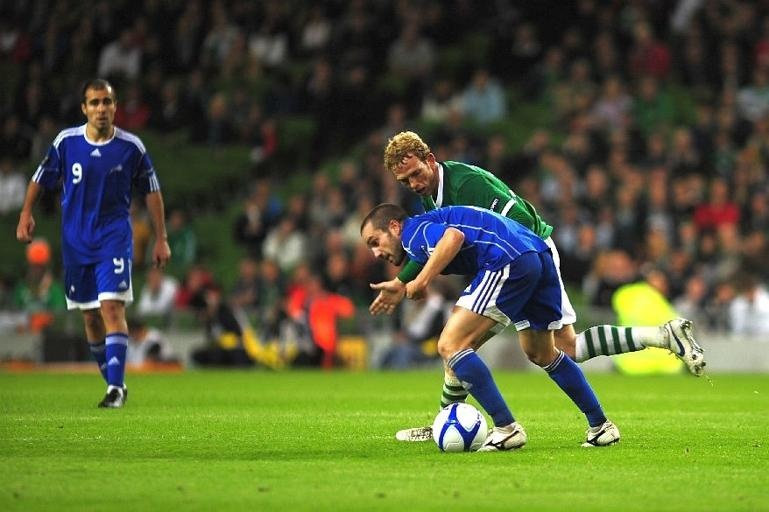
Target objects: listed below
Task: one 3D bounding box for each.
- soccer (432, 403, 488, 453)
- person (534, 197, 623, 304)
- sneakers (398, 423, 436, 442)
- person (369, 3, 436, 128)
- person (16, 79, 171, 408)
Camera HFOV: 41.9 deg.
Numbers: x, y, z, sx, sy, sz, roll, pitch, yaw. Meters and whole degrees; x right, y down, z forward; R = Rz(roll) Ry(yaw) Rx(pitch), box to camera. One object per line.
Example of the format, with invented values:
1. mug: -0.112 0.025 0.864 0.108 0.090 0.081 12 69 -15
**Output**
1. soccer: 0.697 1.567 9.346 0.451 0.455 0.436 -29 1 -8
2. person: 4.062 -0.077 19.654 1.392 1.931 0.725 -3 -3 0
3. sneakers: 0.324 1.730 9.799 0.286 0.070 0.165 -9 -8 25
4. person: 0.596 -4.555 23.100 1.223 2.923 0.780 -3 -5 7
5. person: -3.231 -0.123 11.408 1.537 3.672 0.881 -2 -5 -7
